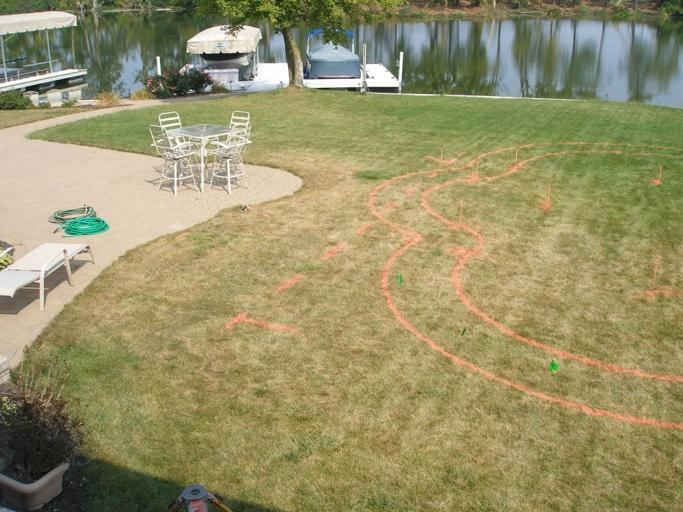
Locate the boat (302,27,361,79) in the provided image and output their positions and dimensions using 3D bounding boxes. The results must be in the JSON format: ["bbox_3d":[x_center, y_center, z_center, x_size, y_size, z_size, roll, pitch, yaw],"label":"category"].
[{"bbox_3d":[-0.592,-12.034,35.187,3.145,2.995,6.023,-1,19,-4],"label":"boat"}]

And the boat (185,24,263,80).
[{"bbox_3d":[-6.478,-11.652,32.871,3.616,3.062,8.100,-5,24,-8],"label":"boat"}]
